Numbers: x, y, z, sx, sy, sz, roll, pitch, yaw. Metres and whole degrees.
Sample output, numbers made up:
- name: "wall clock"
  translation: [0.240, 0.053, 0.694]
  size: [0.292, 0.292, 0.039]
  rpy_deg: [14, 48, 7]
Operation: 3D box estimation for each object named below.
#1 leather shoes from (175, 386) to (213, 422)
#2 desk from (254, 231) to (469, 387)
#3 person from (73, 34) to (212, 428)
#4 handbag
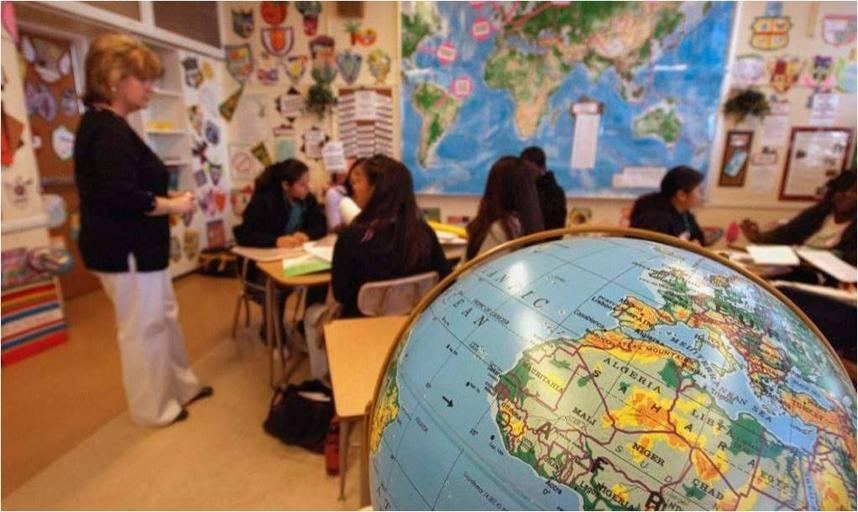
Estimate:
- name: "leather shoes"
  translation: [-1.579, 0.987, 3.571]
  size: [0.099, 0.039, 0.259]
  rpy_deg: [48, 43, 7]
- name: "desk"
  translation: [-0.643, 0.356, 3.807]
  size: [1.176, 1.204, 1.332]
  rpy_deg: [-7, 21, -33]
- name: "person"
  translation: [-1.776, -0.084, 3.234]
  size: [0.618, 2.439, 0.356]
  rpy_deg: [-7, 18, -30]
- name: "handbag"
  translation: [-0.773, 1.019, 3.534]
  size: [0.382, 0.415, 0.487]
  rpy_deg: [15, 9, 2]
